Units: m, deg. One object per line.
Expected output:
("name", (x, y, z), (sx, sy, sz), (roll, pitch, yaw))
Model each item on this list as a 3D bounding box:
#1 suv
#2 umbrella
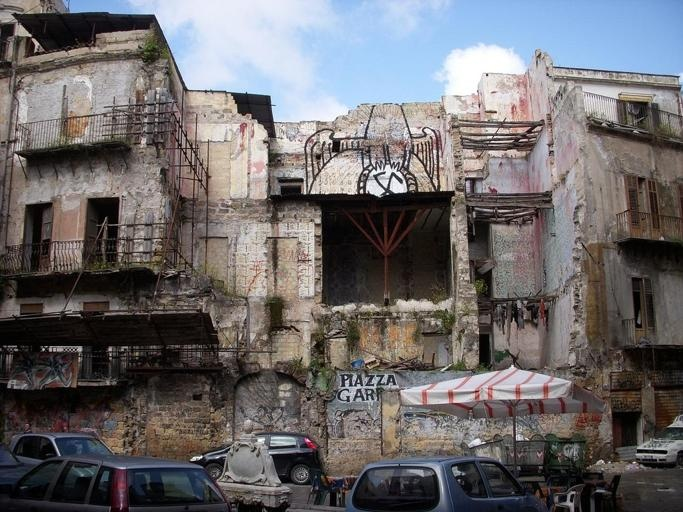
("suv", (-2.599, 6.751, 30.266), (3.381, 1.555, 1.989), (2, -17, 1))
("umbrella", (4.397, 4.318, 24.497), (4.902, 2.628, 2.502), (-5, -16, 14))
